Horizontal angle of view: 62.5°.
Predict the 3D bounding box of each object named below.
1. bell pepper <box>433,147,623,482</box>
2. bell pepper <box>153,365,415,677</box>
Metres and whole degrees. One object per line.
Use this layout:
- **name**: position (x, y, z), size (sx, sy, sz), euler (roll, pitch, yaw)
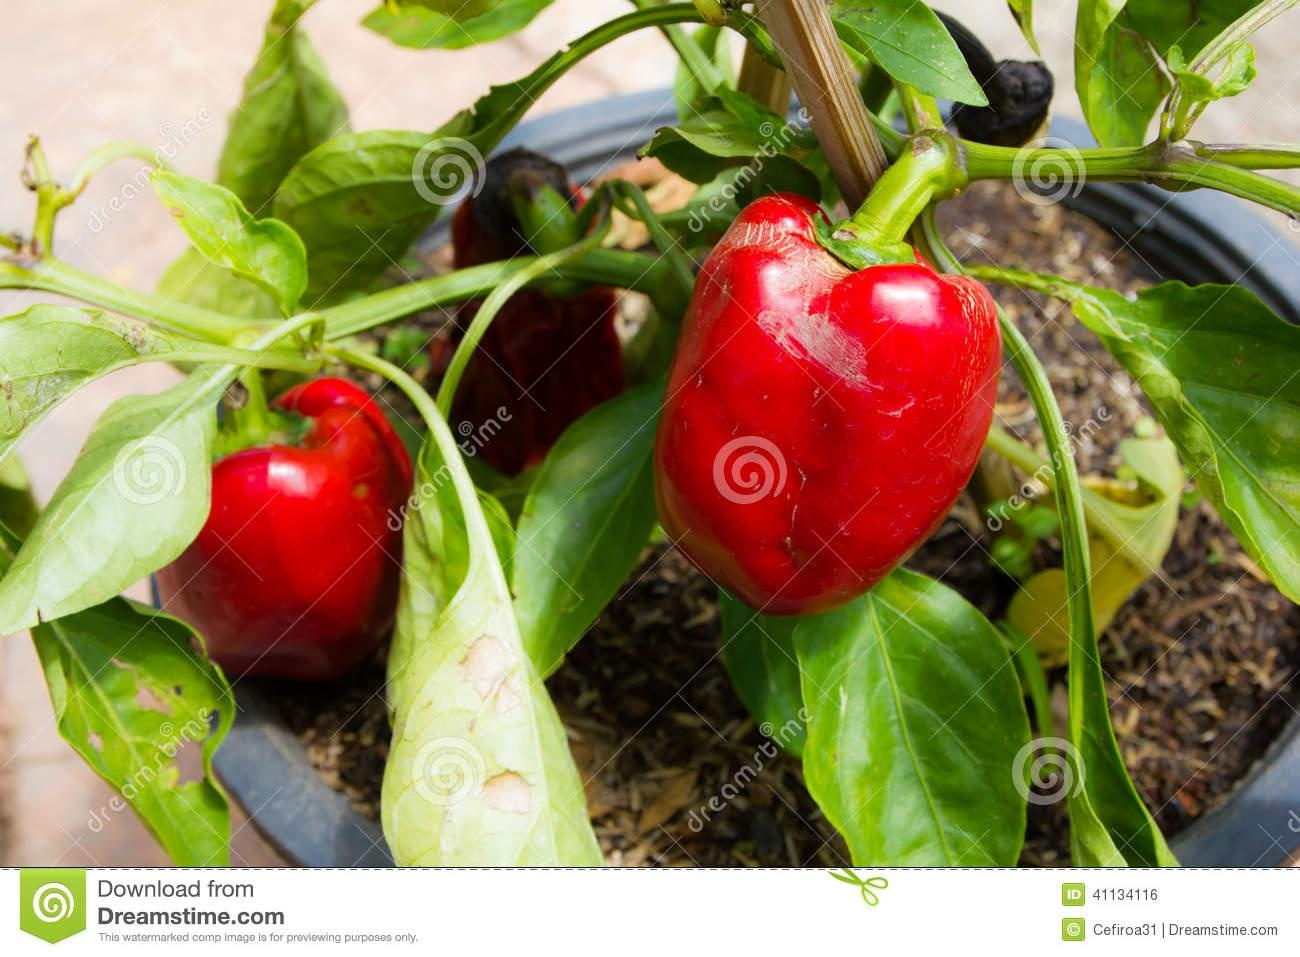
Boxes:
- **bell pepper**: position (-0.098, -0.125, 0.864), size (0.092, 0.276, 0.106), euler (41, 75, 17)
- **bell pepper**: position (-0.259, 0.012, 0.938), size (0.192, 0.291, 0.214), euler (0, 27, 0)
